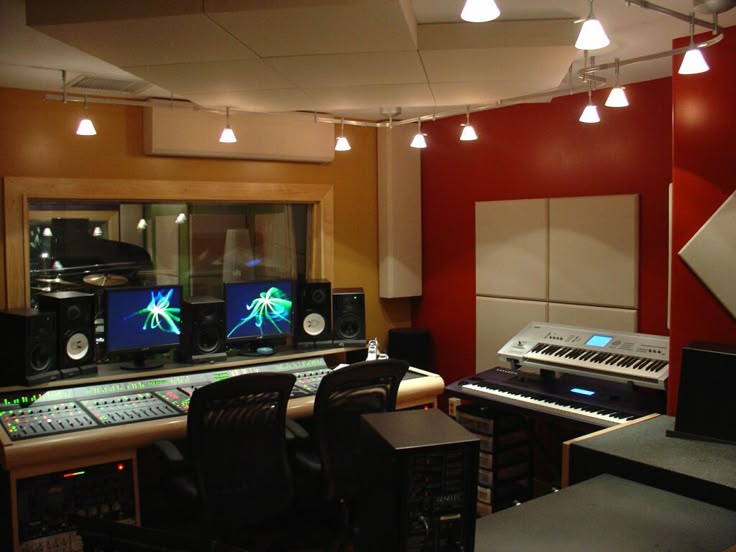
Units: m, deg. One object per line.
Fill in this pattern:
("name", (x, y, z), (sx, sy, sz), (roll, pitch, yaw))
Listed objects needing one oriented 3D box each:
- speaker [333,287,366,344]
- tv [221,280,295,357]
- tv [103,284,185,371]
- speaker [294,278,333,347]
("speaker", (-0.141, 0.308, 4.862), (0.332, 0.512, 0.334), (0, 1, -3))
("tv", (-0.830, 0.311, 4.618), (0.516, 0.494, 0.087), (-3, 2, -28))
("tv", (-1.510, 0.343, 4.147), (0.534, 0.586, 0.186), (0, -3, -35))
("speaker", (-0.415, 0.279, 4.801), (0.282, 0.457, 0.137), (-1, 11, -9))
